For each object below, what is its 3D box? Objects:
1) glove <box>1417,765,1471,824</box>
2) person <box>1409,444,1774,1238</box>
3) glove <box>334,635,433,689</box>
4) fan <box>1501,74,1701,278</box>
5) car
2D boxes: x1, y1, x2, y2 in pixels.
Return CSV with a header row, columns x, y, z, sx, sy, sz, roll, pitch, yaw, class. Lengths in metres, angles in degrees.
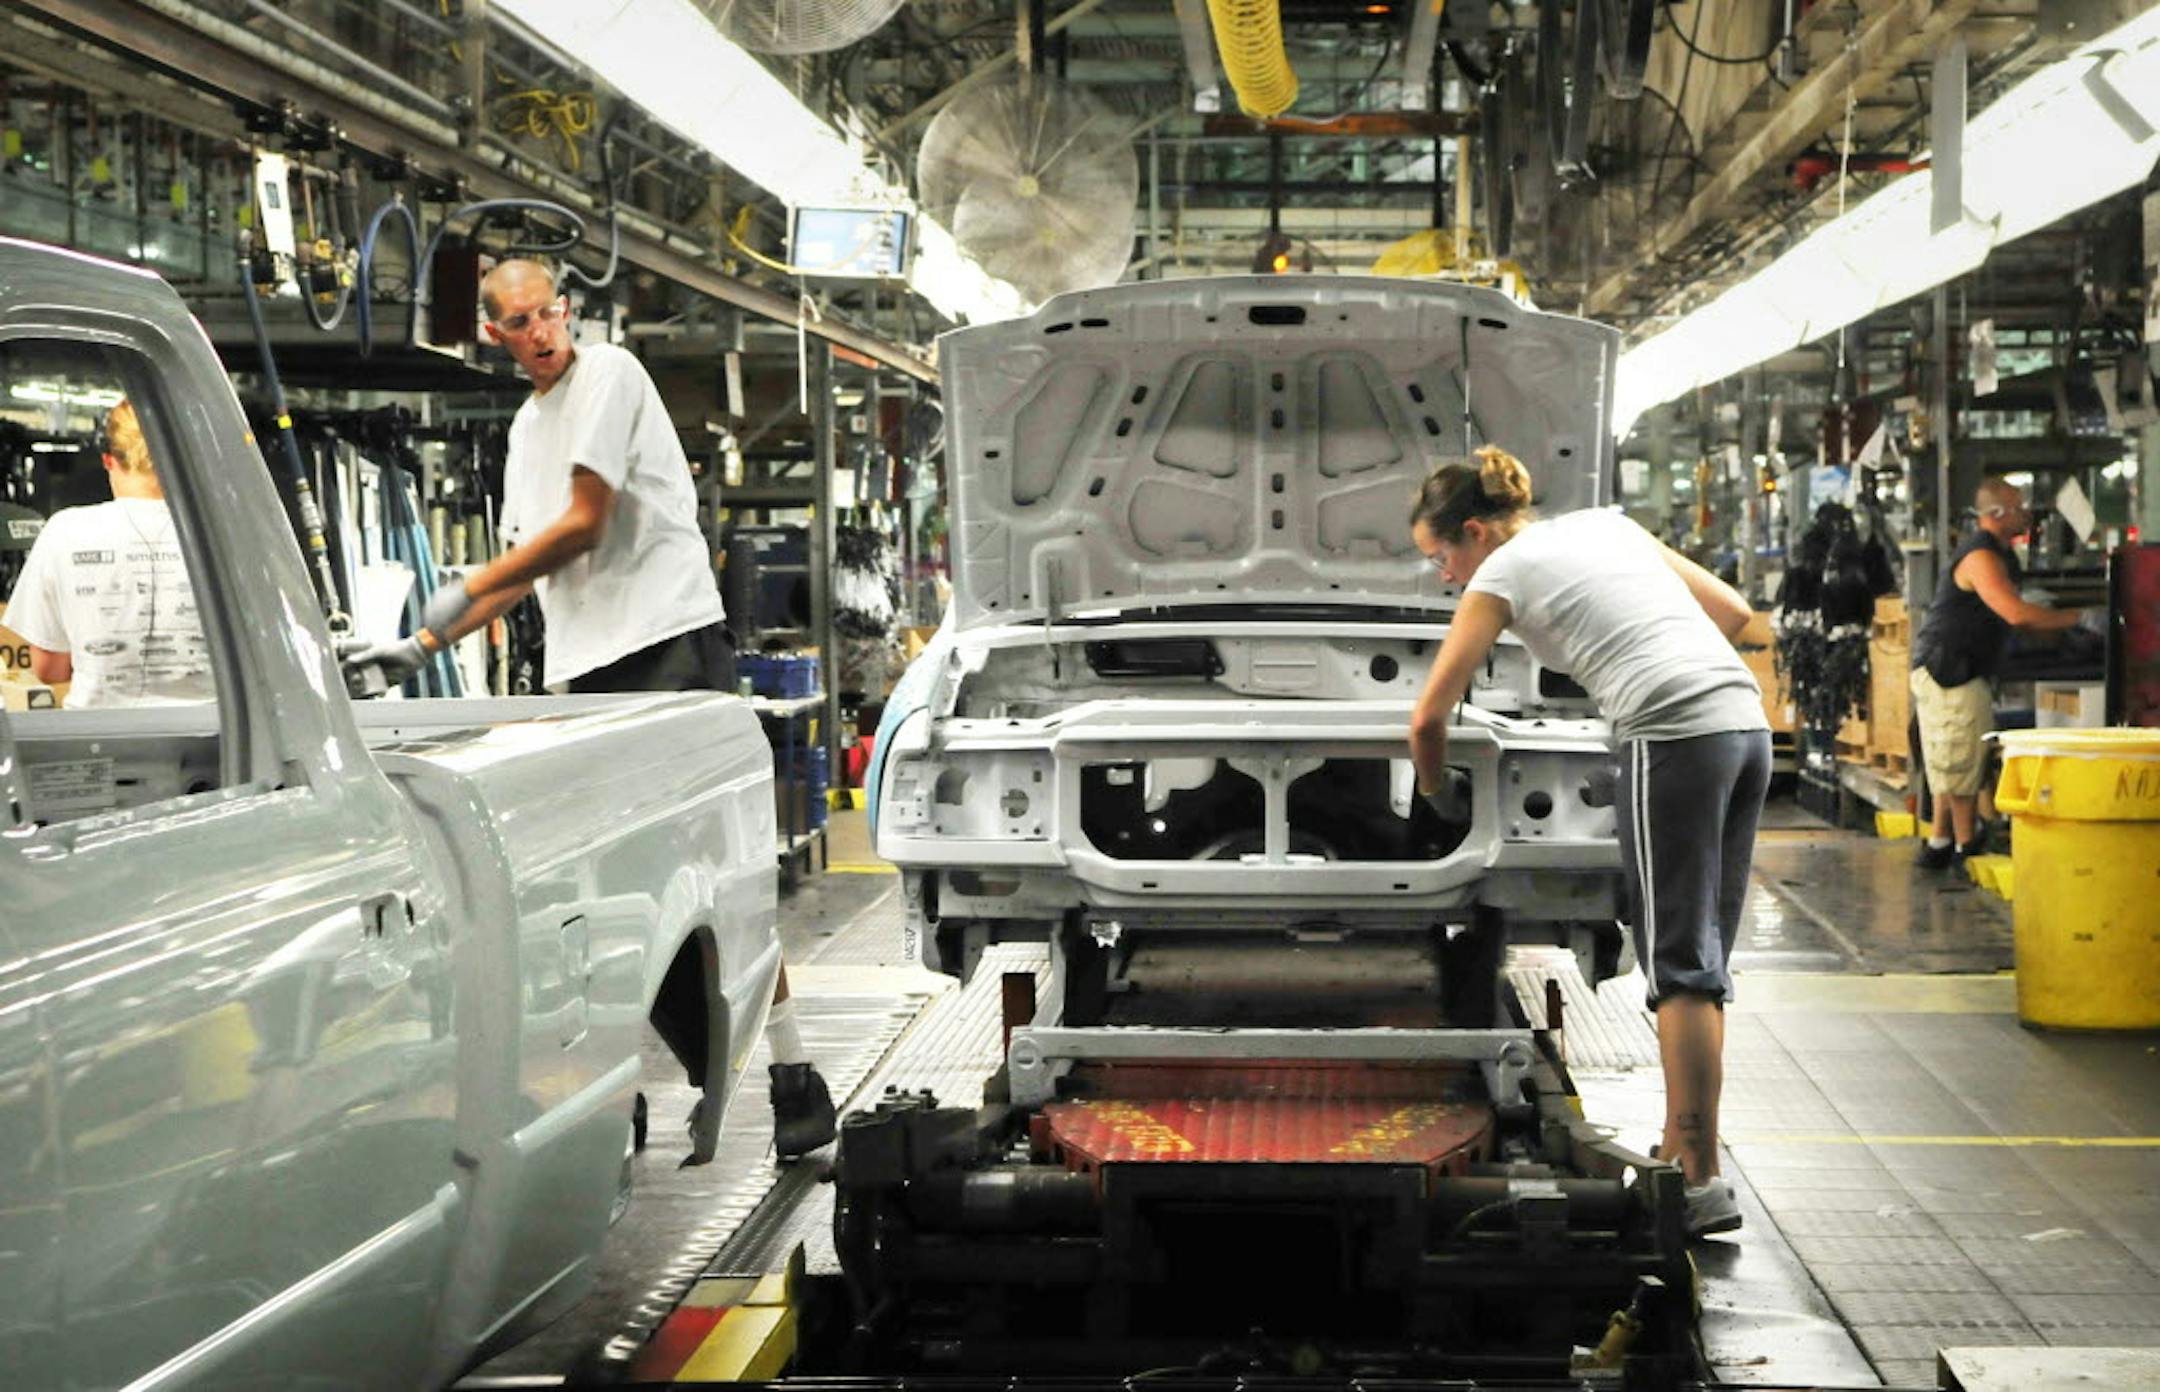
x,y,z,sx,sy,sz,roll,pitch,yaw,class
1.228,0.337,6.175,0.127,0.164,0.422,1,6,20,glove
1.637,0.422,5.775,0.992,2.487,0.975,1,3,19,person
-1.946,-0.096,5.126,0.216,0.148,0.096,-15,3,-24,glove
3.984,-3.999,13.482,1.387,1.282,1.045,-5,-23,30,fan
0.644,-0.530,7.342,2.121,2.050,3.300,-1,11,2,car
